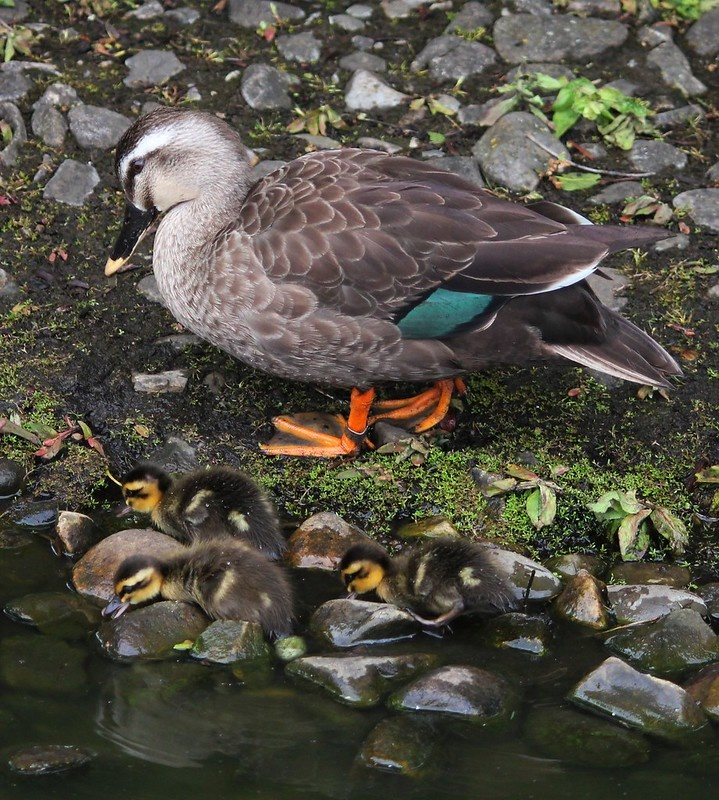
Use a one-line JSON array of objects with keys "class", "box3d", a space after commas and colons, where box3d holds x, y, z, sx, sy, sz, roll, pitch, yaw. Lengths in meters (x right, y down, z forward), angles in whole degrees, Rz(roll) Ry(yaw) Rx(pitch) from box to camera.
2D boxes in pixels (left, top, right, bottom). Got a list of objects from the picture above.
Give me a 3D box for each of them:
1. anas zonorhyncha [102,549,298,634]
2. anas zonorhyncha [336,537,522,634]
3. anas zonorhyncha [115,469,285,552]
[{"class": "anas zonorhyncha", "box3d": [-0.527, 0.626, 3.365, 0.642, 0.215, 0.382, 2, 28, 6]}, {"class": "anas zonorhyncha", "box3d": [0.283, 0.634, 3.388, 0.692, 0.216, 0.250, -9, 1, 20]}, {"class": "anas zonorhyncha", "box3d": [-0.565, 0.376, 3.703, 0.692, 0.275, 0.267, 13, 31, 9]}]
